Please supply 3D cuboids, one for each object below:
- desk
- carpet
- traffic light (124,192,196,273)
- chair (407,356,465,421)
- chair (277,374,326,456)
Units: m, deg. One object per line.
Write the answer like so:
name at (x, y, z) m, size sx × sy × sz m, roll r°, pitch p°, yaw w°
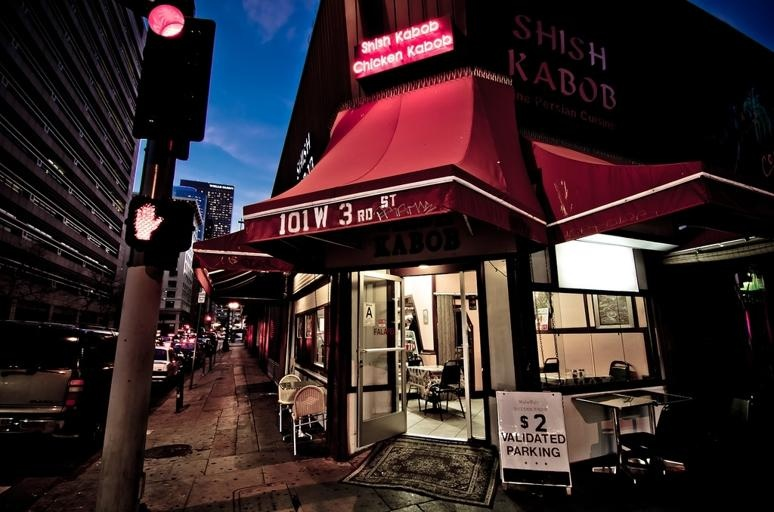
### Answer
desk at (5.446, 3.730, 11.231) m, size 2.263 × 1.828 × 1.835 m, roll 3°, pitch -14°, yaw -18°
carpet at (0.685, 4.882, 11.144) m, size 4.906 × 0.155 × 3.787 m, roll -6°, pitch -12°, yaw 30°
traffic light at (-4.121, -0.446, 9.215) m, size 1.259 × 1.379 × 0.604 m, roll 0°, pitch -15°, yaw 3°
chair at (1.597, 4.030, 15.697) m, size 2.335 × 2.086 × 1.223 m, roll 0°, pitch 5°, yaw -6°
chair at (-2.210, 4.006, 13.062) m, size 1.817 × 1.872 × 1.084 m, roll -7°, pitch 14°, yaw -15°
